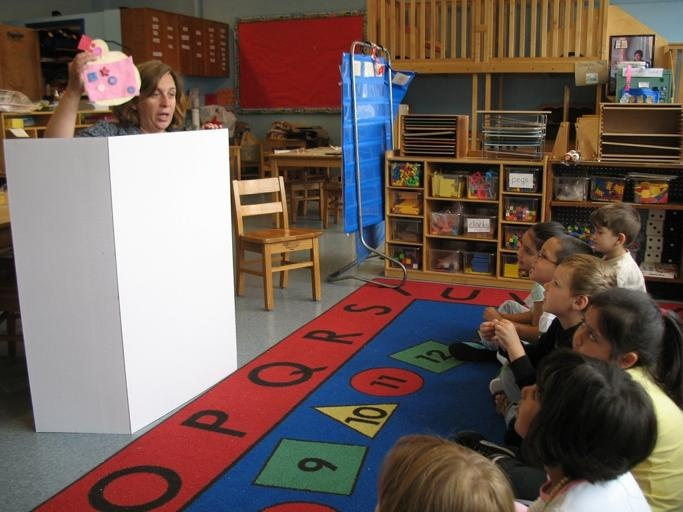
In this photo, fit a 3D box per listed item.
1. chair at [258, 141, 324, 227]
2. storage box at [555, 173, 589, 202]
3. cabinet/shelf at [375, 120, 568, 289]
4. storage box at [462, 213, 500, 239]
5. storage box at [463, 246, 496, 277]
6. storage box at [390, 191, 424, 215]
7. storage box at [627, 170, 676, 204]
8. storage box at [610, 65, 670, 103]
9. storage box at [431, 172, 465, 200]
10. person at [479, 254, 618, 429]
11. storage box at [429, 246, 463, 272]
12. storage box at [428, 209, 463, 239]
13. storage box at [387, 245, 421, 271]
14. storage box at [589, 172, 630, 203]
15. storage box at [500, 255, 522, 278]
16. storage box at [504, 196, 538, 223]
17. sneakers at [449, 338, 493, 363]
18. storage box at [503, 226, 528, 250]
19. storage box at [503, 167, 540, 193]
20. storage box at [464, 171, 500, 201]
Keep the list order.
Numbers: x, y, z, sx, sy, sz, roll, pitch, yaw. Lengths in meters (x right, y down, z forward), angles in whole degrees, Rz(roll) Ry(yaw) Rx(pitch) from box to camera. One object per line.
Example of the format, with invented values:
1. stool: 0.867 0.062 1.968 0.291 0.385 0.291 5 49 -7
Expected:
1. chair: -0.619 -0.910 6.671 0.811 0.690 1.467 -1 17 1
2. storage box: 1.846 -0.544 4.222 0.333 0.219 0.187 5 14 25
3. cabinet/shelf: 1.075 -0.427 4.339 1.436 1.134 0.503 4 14 19
4. storage box: 1.148 -0.244 4.407 0.330 0.216 0.183 2 3 22
5. storage box: 1.197 0.040 4.567 0.233 0.138 0.235 6 12 37
6. storage box: 0.582 -0.478 4.710 0.248 0.154 0.252 5 13 24
7. storage box: 2.417 -0.534 4.111 0.314 0.220 0.196 7 17 26
8. storage box: 2.521 -1.443 4.386 0.412 0.299 0.209 6 17 24
9. storage box: 0.904 -0.599 4.450 0.242 0.147 0.240 1 9 11
10. person: 0.930 0.384 2.441 0.578 0.780 0.441 4 16 15
11. storage box: 0.929 0.016 4.673 0.227 0.134 0.227 3 7 27
12. storage box: 0.903 -0.283 4.573 0.232 0.142 0.229 0 4 -27
13. storage box: 0.578 -0.023 4.825 0.383 0.260 0.211 6 10 34
14. storage box: 2.116 -0.543 4.184 0.240 0.200 0.237 -3 5 -39
15. storage box: 1.369 0.073 4.237 0.209 0.240 0.166 0 2 23
16. storage box: 1.475 -0.380 4.308 0.288 0.200 0.124 4 16 16
17. sneakers: 0.791 0.567 3.170 0.180 0.058 0.132 5 6 11
18. storage box: 1.427 -0.162 4.368 0.185 0.196 0.264 2 6 1
19. storage box: 1.455 -0.626 4.269 0.282 0.174 0.195 1 8 15
20. storage box: 1.177 -0.593 4.416 0.248 0.169 0.243 -1 10 2
